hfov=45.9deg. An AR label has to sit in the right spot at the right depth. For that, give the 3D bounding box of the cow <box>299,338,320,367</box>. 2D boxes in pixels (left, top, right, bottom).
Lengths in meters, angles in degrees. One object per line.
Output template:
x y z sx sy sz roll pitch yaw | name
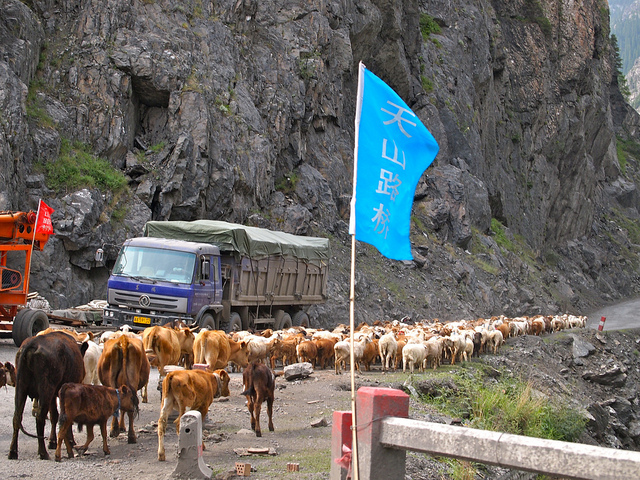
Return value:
-0.466 4.669 31.453 0.395 1.106 1.008 3 0 41 | cow

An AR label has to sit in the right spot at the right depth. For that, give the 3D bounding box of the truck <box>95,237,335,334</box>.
-4.194 2.642 36.201 4.242 5.346 13.343 5 -1 27 | truck

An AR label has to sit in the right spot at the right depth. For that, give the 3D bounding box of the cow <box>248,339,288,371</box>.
-2.243 4.468 29.573 1.735 1.128 0.469 -9 1 -38 | cow

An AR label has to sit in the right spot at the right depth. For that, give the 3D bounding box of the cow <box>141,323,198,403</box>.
-5.436 4.202 27.125 0.916 2.398 3.645 4 -4 8 | cow

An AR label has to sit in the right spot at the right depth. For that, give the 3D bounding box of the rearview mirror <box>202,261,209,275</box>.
-4.723 1.172 30.895 0.091 0.506 0.345 2 0 34 | rearview mirror

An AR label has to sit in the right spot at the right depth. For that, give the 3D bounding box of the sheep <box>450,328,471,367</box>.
6.823 4.965 35.338 0.555 1.554 2.348 7 5 17 | sheep
